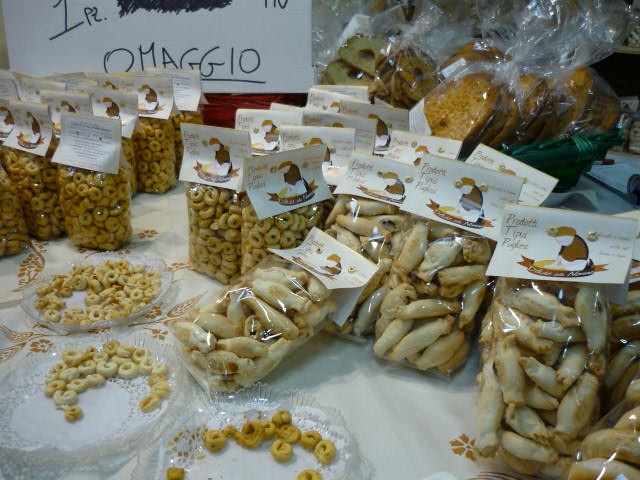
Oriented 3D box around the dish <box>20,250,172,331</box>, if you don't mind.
[{"bbox_3d":[-0.812,0.204,1.770,0.310,0.058,0.327,17,38,22],"label":"dish"}]
